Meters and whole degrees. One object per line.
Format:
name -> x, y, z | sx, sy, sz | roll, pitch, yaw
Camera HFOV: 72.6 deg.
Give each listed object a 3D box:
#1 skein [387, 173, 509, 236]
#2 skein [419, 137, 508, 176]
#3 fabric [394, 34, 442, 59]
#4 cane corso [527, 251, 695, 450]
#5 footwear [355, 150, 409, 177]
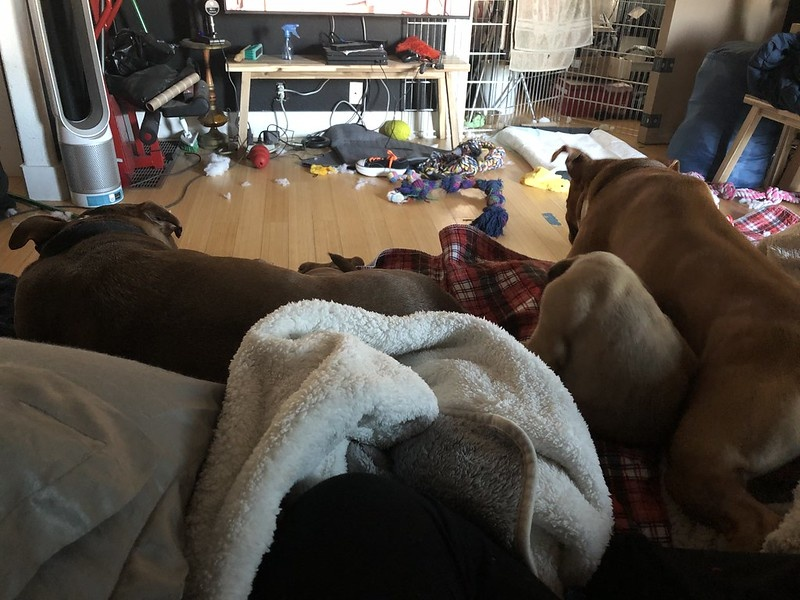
skein -> 0.277, -0.557, 3.214 | 0.714, 0.230, 0.537 | 1, 29, 0
skein -> 0.462, -1.022, 3.888 | 0.626, 0.191, 0.517 | -8, 31, -20
fabric -> 0.127, -1.903, 4.129 | 0.303, 0.120, 0.221 | -22, 66, -7
cane corso -> 0.391, 0.089, 1.146 | 0.307, 0.272, 0.369 | 1, 52, -38
footwear -> -0.117, -0.920, 3.767 | 0.368, 0.111, 0.262 | -3, 34, -9
